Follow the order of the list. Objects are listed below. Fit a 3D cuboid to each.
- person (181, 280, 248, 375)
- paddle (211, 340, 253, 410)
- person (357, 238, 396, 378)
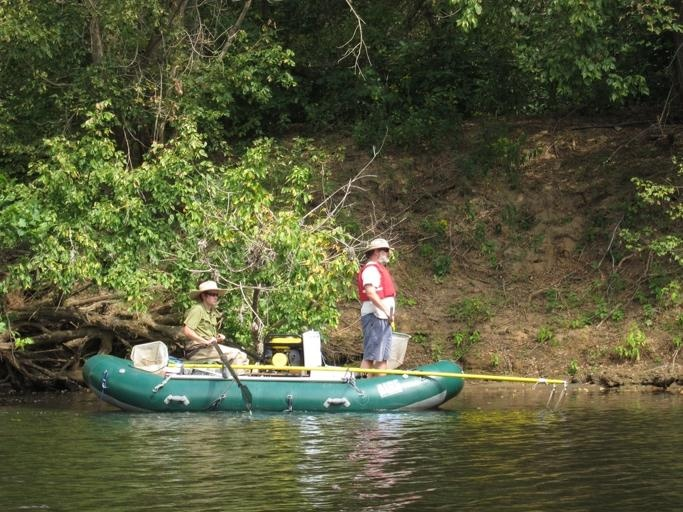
[{"bbox_3d":[-2.132,1.400,18.847,1.157,1.818,0.892,1,-6,5],"label":"person"},{"bbox_3d":[-1.848,1.989,18.230,0.683,1.113,0.285,2,2,30],"label":"paddle"},{"bbox_3d":[0.536,0.870,18.281,0.579,2.298,0.624,1,2,1],"label":"person"}]
